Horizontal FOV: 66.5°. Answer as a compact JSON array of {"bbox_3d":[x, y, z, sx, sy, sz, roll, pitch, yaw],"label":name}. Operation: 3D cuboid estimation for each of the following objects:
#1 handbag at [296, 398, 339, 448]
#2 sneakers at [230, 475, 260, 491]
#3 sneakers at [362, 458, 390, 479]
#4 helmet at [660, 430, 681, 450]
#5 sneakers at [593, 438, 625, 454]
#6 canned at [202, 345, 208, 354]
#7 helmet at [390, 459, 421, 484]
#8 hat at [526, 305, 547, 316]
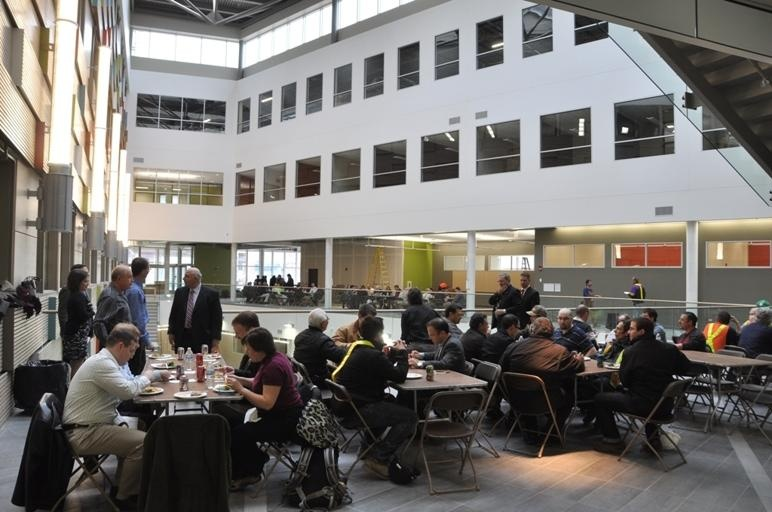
[{"bbox_3d":[-0.839,2.052,7.102,0.485,0.558,0.222,-34,-9,-33],"label":"handbag"},{"bbox_3d":[-1.776,2.857,7.421,0.437,0.171,0.133,9,-10,-28],"label":"sneakers"},{"bbox_3d":[-0.111,2.850,7.872,0.394,0.165,0.155,26,-16,20],"label":"sneakers"},{"bbox_3d":[4.367,2.799,8.973,0.265,0.192,0.264,-5,9,-30],"label":"helmet"},{"bbox_3d":[3.355,2.859,8.827,0.480,0.215,0.199,-2,-3,37],"label":"sneakers"},{"bbox_3d":[-2.693,1.406,8.774,0.077,0.183,0.275,-1,11,-17],"label":"canned"},{"bbox_3d":[0.260,2.826,7.741,0.356,0.151,0.263,16,-3,-40],"label":"helmet"},{"bbox_3d":[2.878,1.054,11.055,0.339,0.169,0.249,6,-7,-19],"label":"hat"}]
